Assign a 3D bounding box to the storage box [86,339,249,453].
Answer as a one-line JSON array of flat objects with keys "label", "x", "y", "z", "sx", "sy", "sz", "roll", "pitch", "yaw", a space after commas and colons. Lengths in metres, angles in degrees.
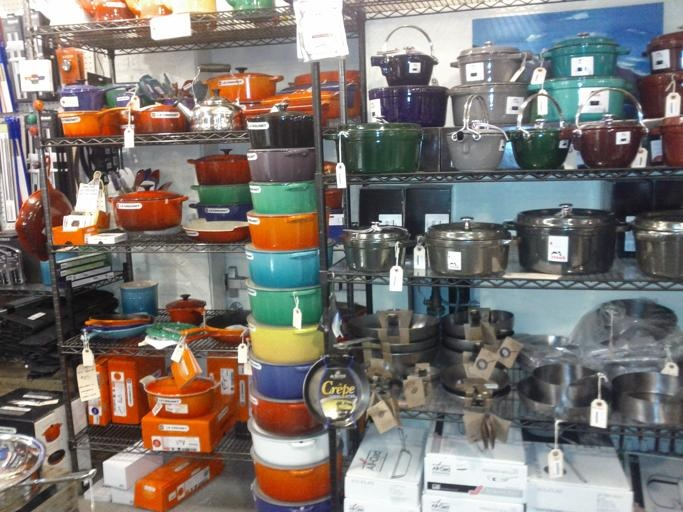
[{"label": "storage box", "x": -0.872, "y": 0.808, "z": 3.011, "sx": 0.824, "sy": 0.399, "sz": 0.682, "roll": 0, "pitch": 3, "yaw": 7}]
